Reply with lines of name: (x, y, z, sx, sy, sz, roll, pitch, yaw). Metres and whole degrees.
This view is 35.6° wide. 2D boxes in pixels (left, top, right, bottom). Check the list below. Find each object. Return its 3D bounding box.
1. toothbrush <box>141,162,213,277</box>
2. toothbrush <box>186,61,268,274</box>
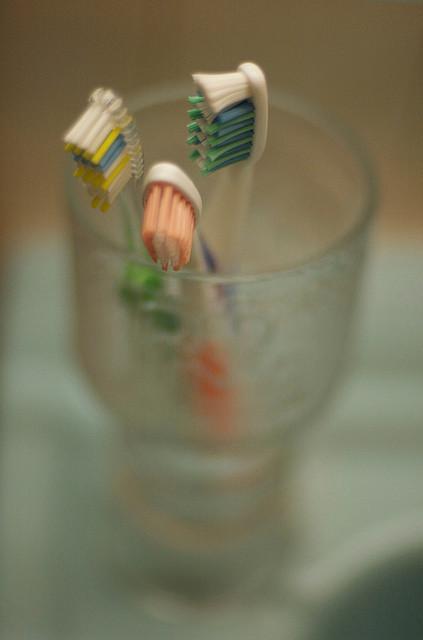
toothbrush: (-0.026, -0.056, 0.392, 0.041, 0.030, 0.072, -34, 30, 28)
toothbrush: (0.009, -0.092, 0.423, 0.056, 0.168, 0.037, -19, 61, -12)
